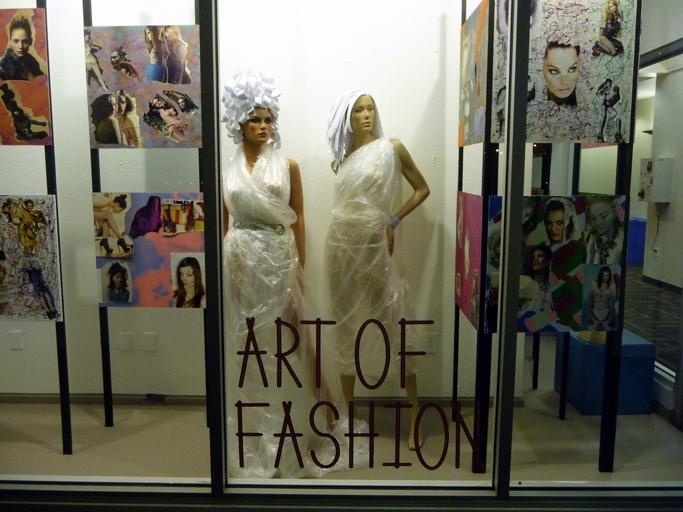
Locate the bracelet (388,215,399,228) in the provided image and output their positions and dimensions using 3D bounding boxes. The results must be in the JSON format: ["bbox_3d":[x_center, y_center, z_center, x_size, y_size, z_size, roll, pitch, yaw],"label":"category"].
[{"bbox_3d":[0.211,-0.137,2.673,0.038,0.046,0.040,2,-4,-9],"label":"bracelet"}]

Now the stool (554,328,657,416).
[{"bbox_3d":[1.174,0.516,2.865,0.369,0.319,0.386,-3,5,-22],"label":"stool"}]

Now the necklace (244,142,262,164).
[{"bbox_3d":[-0.380,-0.429,2.720,0.066,0.074,0.080,0,-5,-2],"label":"necklace"}]
